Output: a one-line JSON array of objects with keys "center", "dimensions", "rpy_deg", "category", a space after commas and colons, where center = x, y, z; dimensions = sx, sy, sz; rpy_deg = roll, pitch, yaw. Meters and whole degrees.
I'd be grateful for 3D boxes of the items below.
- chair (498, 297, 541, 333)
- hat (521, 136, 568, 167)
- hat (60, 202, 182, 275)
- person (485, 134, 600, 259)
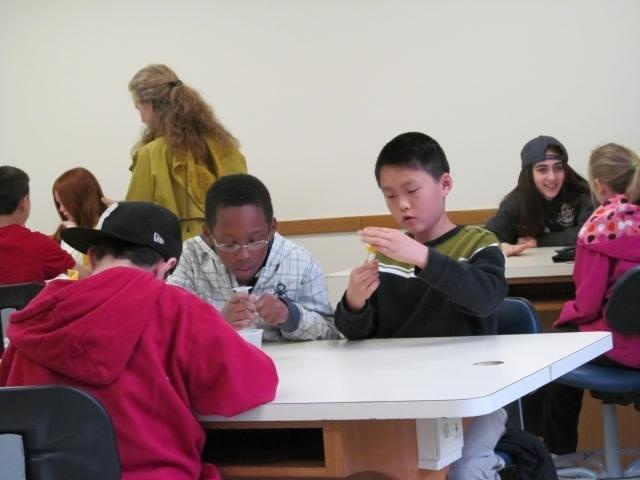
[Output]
[{"center": [0.651, 0.265, 1.905], "dimensions": [0.113, 0.153, 0.129], "rpy_deg": [-7, -12, 16], "category": "chair"}, {"center": [1.428, -0.574, 3.680], "dimensions": [0.267, 0.222, 0.367], "rpy_deg": [-11, 1, 14], "category": "hat"}, {"center": [-0.476, -0.034, 1.393], "dimensions": [0.189, 0.151, 0.310], "rpy_deg": [1, -17, 31], "category": "hat"}, {"center": [1.388, -0.255, 3.631], "dimensions": [0.860, 0.756, 0.505], "rpy_deg": [-7, 9, -18], "category": "person"}]
